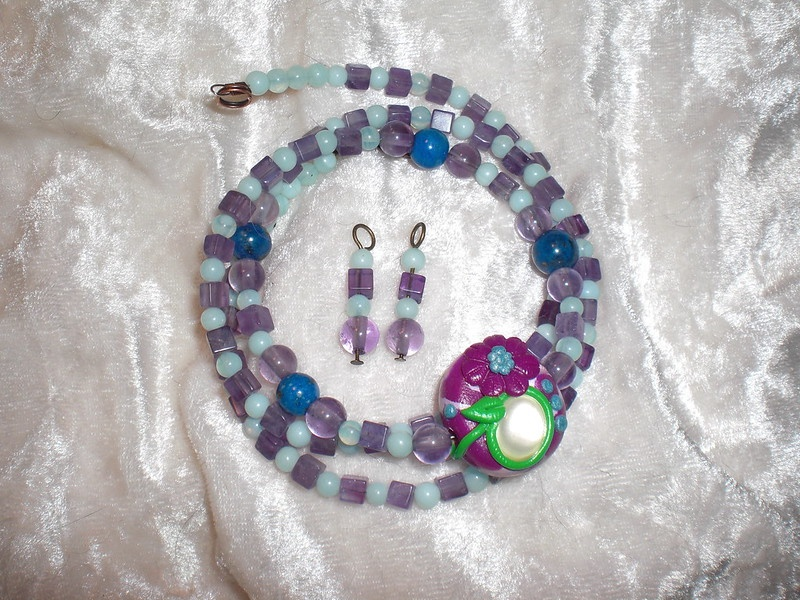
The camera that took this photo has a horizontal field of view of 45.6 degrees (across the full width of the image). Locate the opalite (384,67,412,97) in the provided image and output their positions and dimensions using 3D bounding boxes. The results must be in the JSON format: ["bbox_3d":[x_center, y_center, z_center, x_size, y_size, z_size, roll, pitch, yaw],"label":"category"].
[{"bbox_3d":[-0.004,-0.741,3.236,0.077,0.093,0.081,2,11,-6],"label":"opalite"}]

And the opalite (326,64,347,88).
[{"bbox_3d":[-0.217,-0.770,3.288,0.058,0.075,0.061,31,43,22],"label":"opalite"}]

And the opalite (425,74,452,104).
[{"bbox_3d":[0.134,-0.718,3.251,0.079,0.095,0.079,7,9,-14],"label":"opalite"}]

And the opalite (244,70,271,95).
[{"bbox_3d":[-0.474,-0.721,3.163,0.067,0.081,0.042,-10,11,-10],"label":"opalite"}]

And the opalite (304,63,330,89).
[{"bbox_3d":[-0.281,-0.764,3.237,0.065,0.075,0.070,22,36,18],"label":"opalite"}]

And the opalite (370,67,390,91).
[{"bbox_3d":[-0.068,-0.757,3.271,0.058,0.068,0.076,6,39,4],"label":"opalite"}]

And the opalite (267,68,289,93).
[{"bbox_3d":[-0.411,-0.734,3.190,0.062,0.087,0.069,-3,17,3],"label":"opalite"}]

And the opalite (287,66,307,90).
[{"bbox_3d":[-0.347,-0.753,3.203,0.059,0.082,0.067,-3,25,-7],"label":"opalite"}]

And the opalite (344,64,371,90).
[{"bbox_3d":[-0.141,-0.757,3.228,0.068,0.082,0.082,3,36,-10],"label":"opalite"}]
